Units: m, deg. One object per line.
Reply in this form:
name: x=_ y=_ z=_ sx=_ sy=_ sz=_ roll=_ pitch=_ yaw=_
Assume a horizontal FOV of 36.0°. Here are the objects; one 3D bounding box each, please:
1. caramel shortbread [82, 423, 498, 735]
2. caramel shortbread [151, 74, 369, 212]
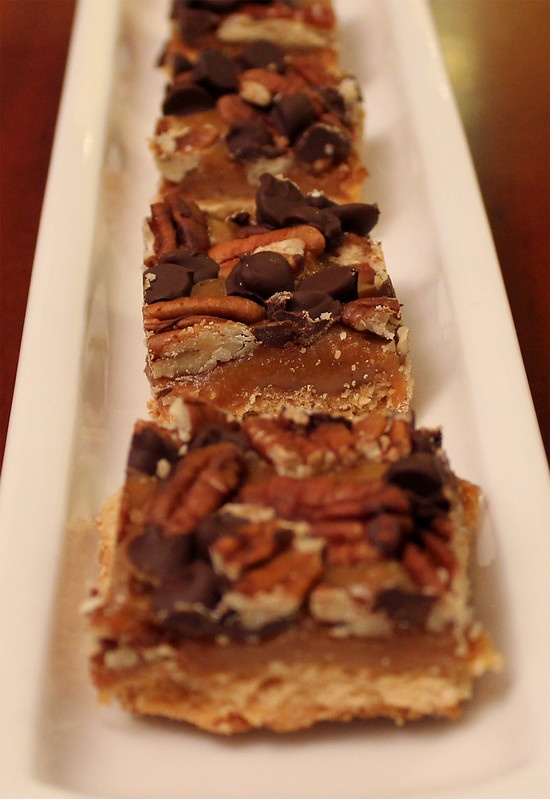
caramel shortbread: x=0.016 y=0.214 z=1.053 sx=0.526 sy=0.184 sz=0.381 roll=-3 pitch=71 yaw=0
caramel shortbread: x=-0.041 y=-0.504 z=1.854 sx=0.375 sy=0.106 sz=0.320 roll=3 pitch=56 yaw=-1
